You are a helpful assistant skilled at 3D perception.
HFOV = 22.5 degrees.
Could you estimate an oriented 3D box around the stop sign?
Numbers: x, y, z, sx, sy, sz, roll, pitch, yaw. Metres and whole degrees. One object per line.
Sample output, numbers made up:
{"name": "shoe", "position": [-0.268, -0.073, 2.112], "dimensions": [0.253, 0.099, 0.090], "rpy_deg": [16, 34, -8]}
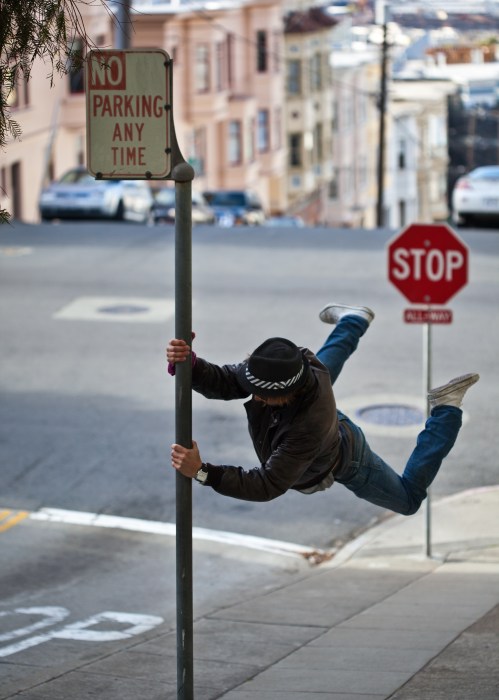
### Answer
{"name": "stop sign", "position": [1.373, -0.661, 9.774], "dimensions": [0.805, 0.676, 0.064], "rpy_deg": [0, 0, -31]}

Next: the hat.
{"name": "hat", "position": [0.121, 0.101, 6.363], "dimensions": [0.359, 0.277, 0.307], "rpy_deg": [-1, 14, 2]}

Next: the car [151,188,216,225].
{"name": "car", "position": [-1.668, -3.718, 32.667], "dimensions": [1.374, 0.987, 2.188], "rpy_deg": [0, 8, 12]}

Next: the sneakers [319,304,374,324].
{"name": "sneakers", "position": [0.629, -0.226, 8.216], "dimensions": [0.383, 0.129, 0.137], "rpy_deg": [8, 5, 31]}
